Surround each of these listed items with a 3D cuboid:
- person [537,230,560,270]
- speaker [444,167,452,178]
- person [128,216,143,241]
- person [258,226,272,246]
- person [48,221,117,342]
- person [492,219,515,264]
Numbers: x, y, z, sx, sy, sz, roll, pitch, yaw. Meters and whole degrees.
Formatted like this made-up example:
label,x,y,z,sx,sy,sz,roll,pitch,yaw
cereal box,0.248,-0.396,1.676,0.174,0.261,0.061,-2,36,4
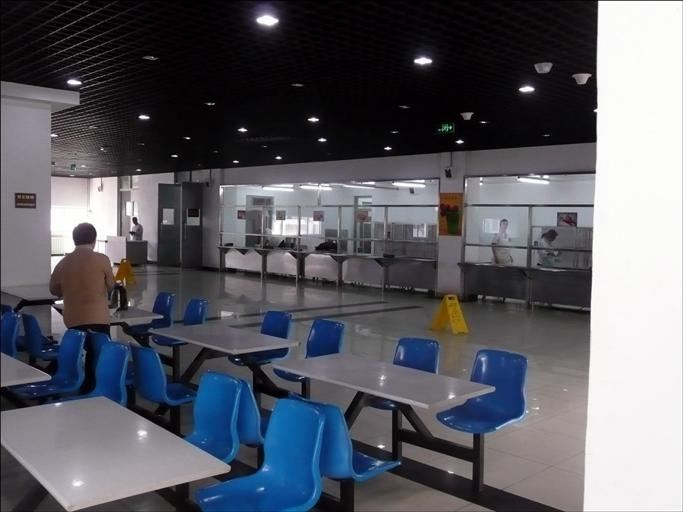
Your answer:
label,x,y,z,sx,sy,sz,roll,pitch,yaw
person,5.076,-0.222,12.068,0.468,0.933,0.273,1,5,30
speaker,2.844,-2.228,13.034,0.132,0.290,0.289,1,-2,-31
person,-8.825,-1.189,21.049,0.429,1.021,1.328,-4,5,-26
person,-2.756,-0.704,17.963,0.376,0.685,0.885,-2,4,-8
person,-2.620,0.242,4.957,0.634,1.156,0.410,0,5,17
person,4.247,-0.389,12.912,0.550,1.153,0.496,-1,4,3
